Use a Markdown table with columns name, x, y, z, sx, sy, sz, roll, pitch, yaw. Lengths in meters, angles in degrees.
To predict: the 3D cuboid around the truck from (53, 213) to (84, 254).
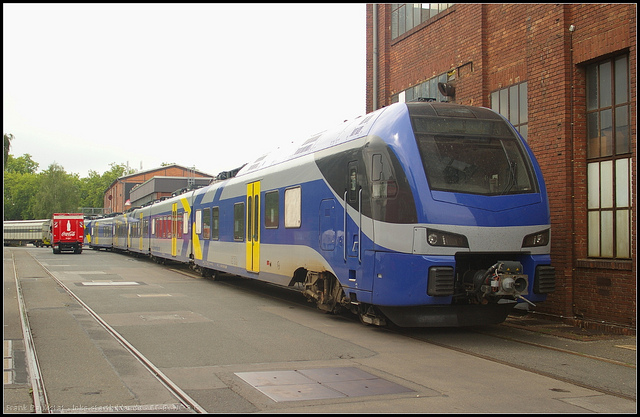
| name | x | y | z | sx | sy | sz | roll | pitch | yaw |
| --- | --- | --- | --- | --- | --- | --- | --- | --- | --- |
| truck | -22.445 | 2.288 | 45.788 | 2.654 | 3.593 | 1.907 | 1 | -1 | -15 |

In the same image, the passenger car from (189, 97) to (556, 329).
| name | x | y | z | sx | sy | sz | roll | pitch | yaw |
| --- | --- | --- | --- | --- | --- | --- | --- | --- | --- |
| passenger car | -1.087 | 0.243 | 16.776 | 3.130 | 5.237 | 16.924 | 1 | -2 | -33 |

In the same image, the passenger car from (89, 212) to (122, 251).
| name | x | y | z | sx | sy | sz | roll | pitch | yaw |
| --- | --- | --- | --- | --- | --- | --- | --- | --- | --- |
| passenger car | -22.997 | 2.549 | 57.019 | 2.192 | 4.138 | 11.699 | 1 | -3 | -39 |
